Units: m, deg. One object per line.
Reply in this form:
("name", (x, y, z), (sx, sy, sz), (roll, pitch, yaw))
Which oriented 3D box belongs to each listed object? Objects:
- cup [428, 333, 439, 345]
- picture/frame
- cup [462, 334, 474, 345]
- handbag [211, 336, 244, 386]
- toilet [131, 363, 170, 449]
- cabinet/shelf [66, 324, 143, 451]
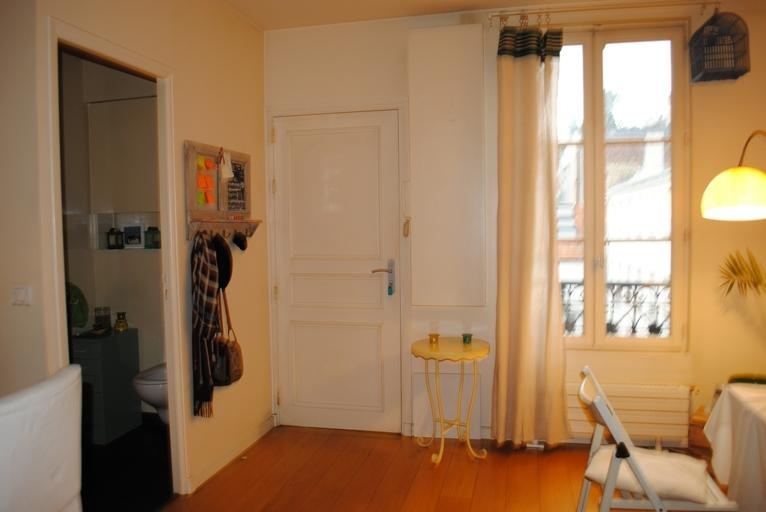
("cup", (0.407, 0.666, 4.655), (0.073, 0.088, 0.136), (0, 13, 4))
("picture/frame", (-1.255, -0.550, 4.534), (0.047, 0.556, 0.735), (2, 3, 26))
("cup", (0.674, 0.661, 4.669), (0.069, 0.055, 0.071), (2, -3, 0))
("handbag", (-1.156, 0.769, 4.320), (0.123, 0.364, 0.228), (8, 16, 37))
("toilet", (-1.851, 1.060, 4.680), (0.255, 0.428, 0.575), (-7, 14, -24))
("cabinet/shelf", (-2.305, 1.108, 4.979), (0.499, 0.899, 0.281), (-8, 14, -29))
